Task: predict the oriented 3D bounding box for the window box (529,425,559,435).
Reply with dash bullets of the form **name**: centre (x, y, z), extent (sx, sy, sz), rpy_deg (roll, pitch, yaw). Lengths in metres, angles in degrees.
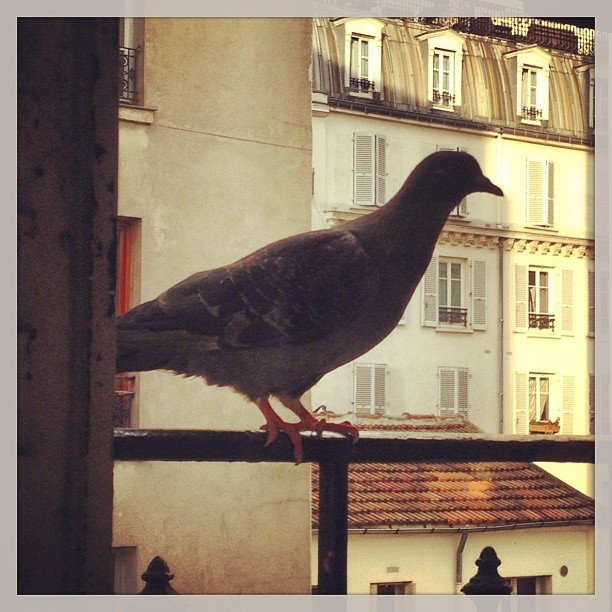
- **window box**: centre (1.596, 0.772, 16.555), extent (0.143, 0.041, 0.196), rpy_deg (7, -3, -28)
